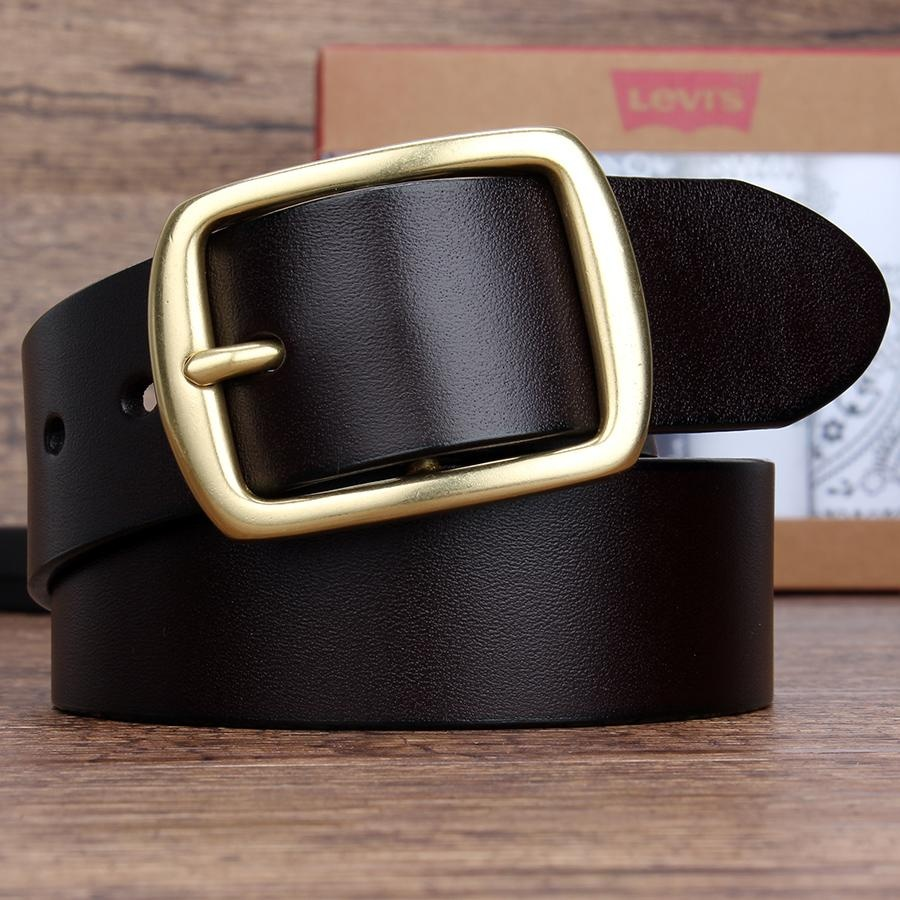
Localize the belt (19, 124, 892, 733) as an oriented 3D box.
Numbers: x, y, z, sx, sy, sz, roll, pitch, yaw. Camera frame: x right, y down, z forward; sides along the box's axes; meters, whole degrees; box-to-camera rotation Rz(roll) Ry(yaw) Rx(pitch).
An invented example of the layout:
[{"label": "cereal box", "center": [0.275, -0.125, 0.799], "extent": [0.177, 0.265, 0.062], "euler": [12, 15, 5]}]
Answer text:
[{"label": "belt", "center": [0.001, -0.003, 0.428], "extent": [0.346, 0.112, 0.200], "euler": [-1, 83, 1]}]
